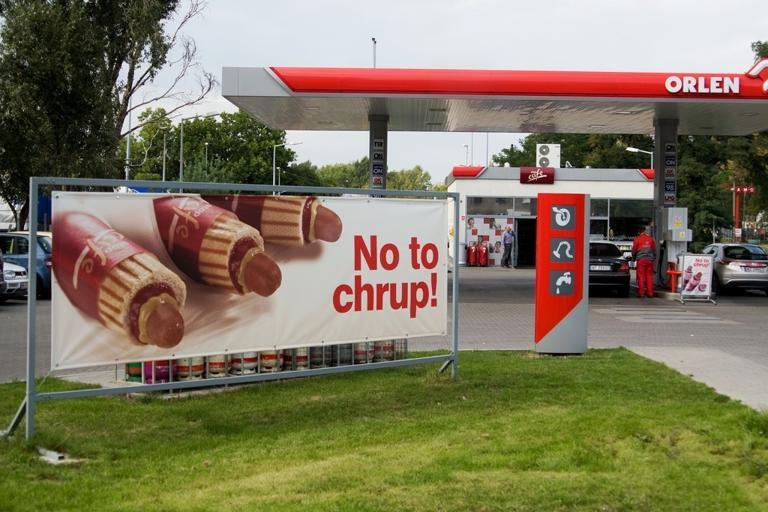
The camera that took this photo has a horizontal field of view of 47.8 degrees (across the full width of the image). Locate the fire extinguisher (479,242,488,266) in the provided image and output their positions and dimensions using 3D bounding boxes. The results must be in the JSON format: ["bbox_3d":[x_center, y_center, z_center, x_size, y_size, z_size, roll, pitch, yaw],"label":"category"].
[{"bbox_3d":[4.980,-0.126,43.722,0.480,1.171,0.320,0,1,-7],"label":"fire extinguisher"}]

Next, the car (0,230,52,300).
[{"bbox_3d":[-10.365,0.254,25.386,1.023,1.915,3.608,0,1,-34],"label":"car"}]

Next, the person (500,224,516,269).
[{"bbox_3d":[6.202,-0.497,43.482,0.629,1.982,0.929,0,1,-2],"label":"person"}]

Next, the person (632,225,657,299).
[{"bbox_3d":[8.003,0.191,26.939,0.623,2.159,1.341,0,1,17],"label":"person"}]
